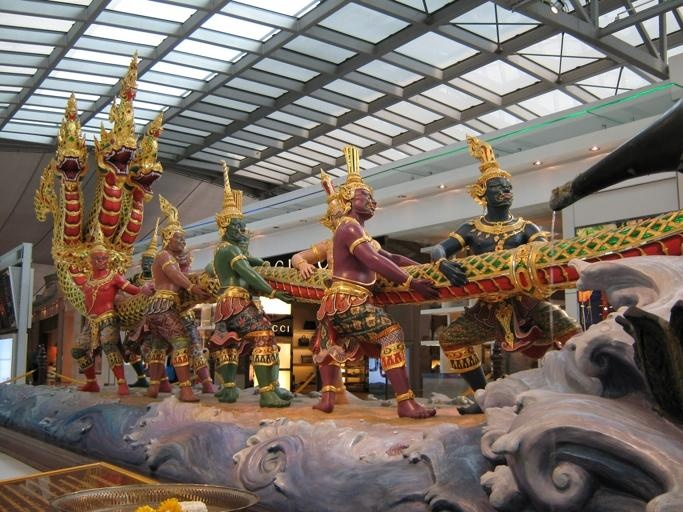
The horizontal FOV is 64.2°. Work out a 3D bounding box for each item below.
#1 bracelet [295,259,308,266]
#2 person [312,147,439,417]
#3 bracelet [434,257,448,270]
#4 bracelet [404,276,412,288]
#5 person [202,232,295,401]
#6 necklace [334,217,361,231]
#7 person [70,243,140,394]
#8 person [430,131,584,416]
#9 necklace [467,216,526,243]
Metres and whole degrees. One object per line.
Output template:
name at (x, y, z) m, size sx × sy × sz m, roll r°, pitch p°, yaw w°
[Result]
bracelet at (-0.303, 0.045, 4.153) m, size 0.085 × 0.049 × 0.054 m, roll -3°, pitch -10°, yaw -14°
person at (0.107, 0.094, 3.427) m, size 0.370 × 1.775 × 0.899 m, roll 3°, pitch -15°, yaw -45°
bracelet at (0.580, 0.038, 3.146) m, size 0.059 × 0.056 × 0.075 m, roll 2°, pitch -17°, yaw -46°
bracelet at (0.395, 0.149, 3.189) m, size 0.060 × 0.070 × 0.083 m, roll -9°, pitch -10°, yaw 9°
person at (-0.785, 0.522, 4.405) m, size 0.583 × 1.345 × 0.764 m, roll -6°, pitch -11°, yaw -12°
necklace at (0.031, -0.205, 3.423) m, size 0.131 × 0.046 × 0.083 m, roll 3°, pitch 1°, yaw 5°
person at (-2.436, 0.631, 5.599) m, size 0.511 × 1.526 × 1.022 m, roll 0°, pitch -13°, yaw -35°
person at (0.932, 0.051, 3.409) m, size 0.822 × 1.760 × 0.868 m, roll -10°, pitch -11°, yaw 8°
necklace at (0.981, -0.173, 3.418) m, size 0.325 × 0.087 × 0.178 m, roll 3°, pitch 21°, yaw 35°
